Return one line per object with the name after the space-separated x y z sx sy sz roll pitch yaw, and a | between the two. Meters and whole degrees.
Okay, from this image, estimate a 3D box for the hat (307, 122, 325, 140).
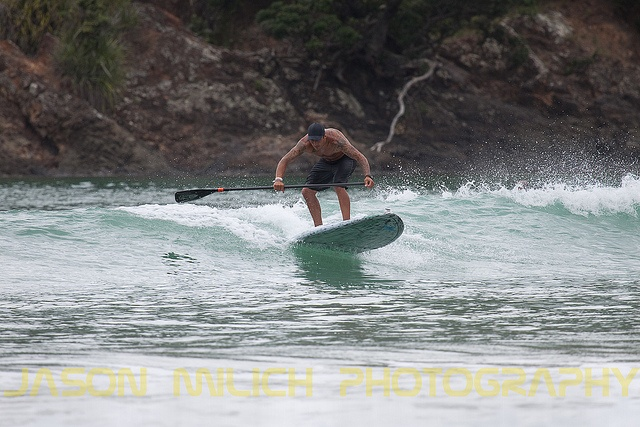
-0.090 -2.191 28.817 0.389 0.276 0.465 3 53 12 | hat

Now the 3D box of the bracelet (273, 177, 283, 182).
-1.061 -0.896 28.927 0.235 0.069 0.215 -5 -1 13 | bracelet
